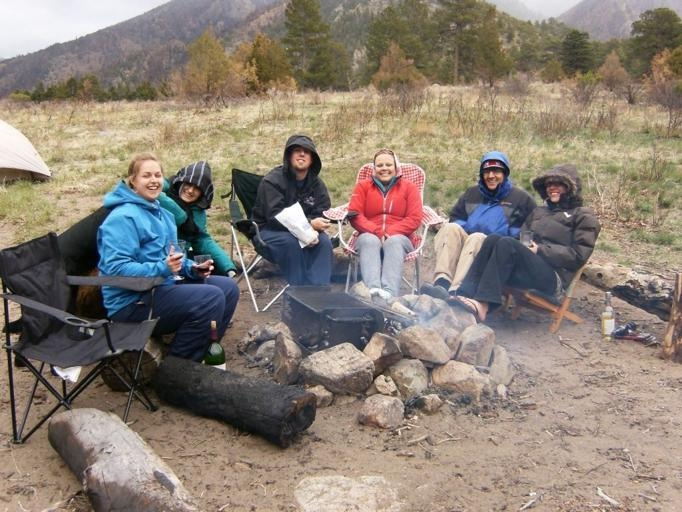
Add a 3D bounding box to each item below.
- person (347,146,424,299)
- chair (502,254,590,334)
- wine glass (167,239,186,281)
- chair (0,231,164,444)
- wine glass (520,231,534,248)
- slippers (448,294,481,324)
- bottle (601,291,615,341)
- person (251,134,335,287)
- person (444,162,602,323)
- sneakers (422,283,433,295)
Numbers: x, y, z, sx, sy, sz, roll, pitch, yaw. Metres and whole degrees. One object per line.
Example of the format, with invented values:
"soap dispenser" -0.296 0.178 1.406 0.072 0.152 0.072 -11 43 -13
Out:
"person" 0.441 -0.398 6.722 0.807 1.361 1.125 5 11 6
"chair" 2.012 0.358 6.581 0.679 0.747 0.735 4 1 -2
"wine glass" -1.377 0.056 5.424 0.136 0.368 0.401 0 12 -15
"chair" -1.991 0.651 5.100 0.920 1.389 1.148 5 18 6
"wine glass" 1.812 -0.162 6.333 0.114 0.185 0.184 -9 11 -2
"slippers" 1.179 0.472 6.207 0.382 0.106 0.168 36 0 -17
"bottle" 2.571 0.566 6.250 0.128 0.424 0.229 8 12 22
"person" -0.504 -0.510 6.772 0.804 1.485 0.833 2 11 -8
"person" 1.832 -0.161 6.511 1.360 1.517 0.674 0 11 -16
"sneakers" 0.851 0.325 6.367 0.103 0.100 0.148 2 11 -10
